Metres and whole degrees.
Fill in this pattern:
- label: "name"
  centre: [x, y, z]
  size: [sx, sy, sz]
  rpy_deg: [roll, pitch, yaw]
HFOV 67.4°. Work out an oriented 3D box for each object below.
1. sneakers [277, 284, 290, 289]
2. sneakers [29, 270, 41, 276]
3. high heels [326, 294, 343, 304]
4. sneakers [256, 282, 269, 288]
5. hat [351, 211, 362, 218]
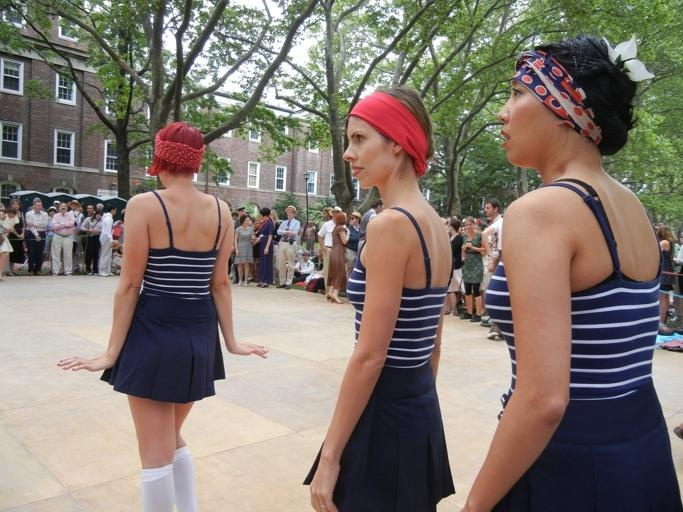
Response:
- label: "sneakers"
  centre: [-1.614, 0.853, 14.163]
  size: [0.348, 0.156, 0.122]
  rpy_deg: [3, -5, 15]
- label: "sneakers"
  centre: [-9.528, 0.537, 15.831]
  size: [0.290, 0.149, 0.416]
  rpy_deg: [-4, 5, -37]
- label: "high heels"
  centre: [-0.198, 1.018, 12.118]
  size: [0.187, 0.156, 0.339]
  rpy_deg: [7, -13, -32]
- label: "sneakers"
  centre: [-2.247, 0.838, 14.508]
  size: [0.362, 0.160, 0.119]
  rpy_deg: [8, -2, -10]
- label: "hat"
  centre: [0.357, -0.980, 12.233]
  size: [0.182, 0.179, 0.224]
  rpy_deg: [0, 16, -11]
